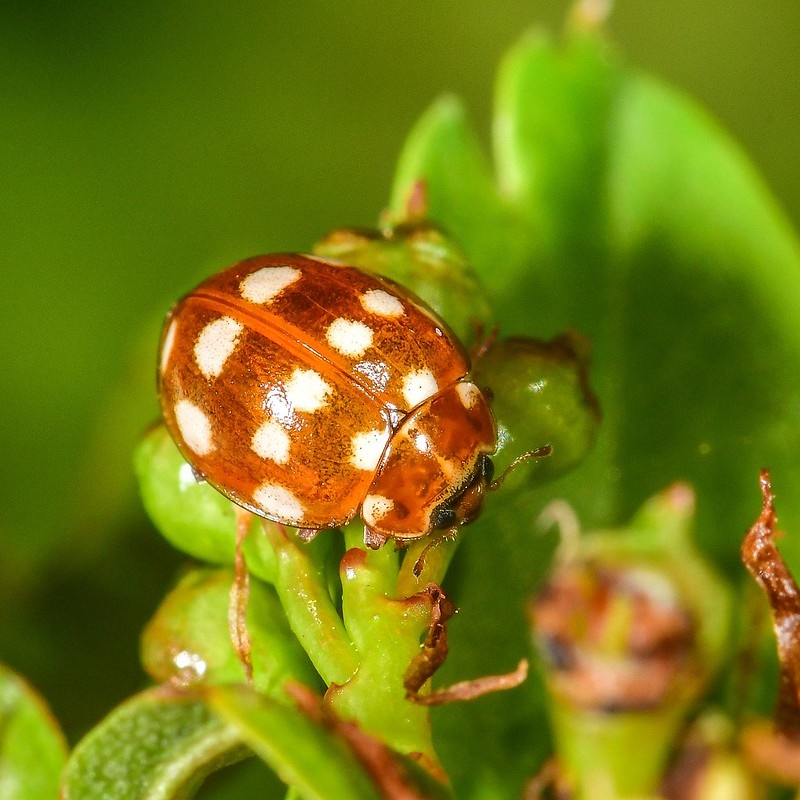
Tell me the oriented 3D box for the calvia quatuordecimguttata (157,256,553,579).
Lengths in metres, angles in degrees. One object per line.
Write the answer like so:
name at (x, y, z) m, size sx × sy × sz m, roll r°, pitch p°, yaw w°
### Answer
calvia quatuordecimguttata at (-0.038, 0.009, 0.546) m, size 0.190 × 0.108 × 0.146 m, roll 18°, pitch 67°, yaw 11°
